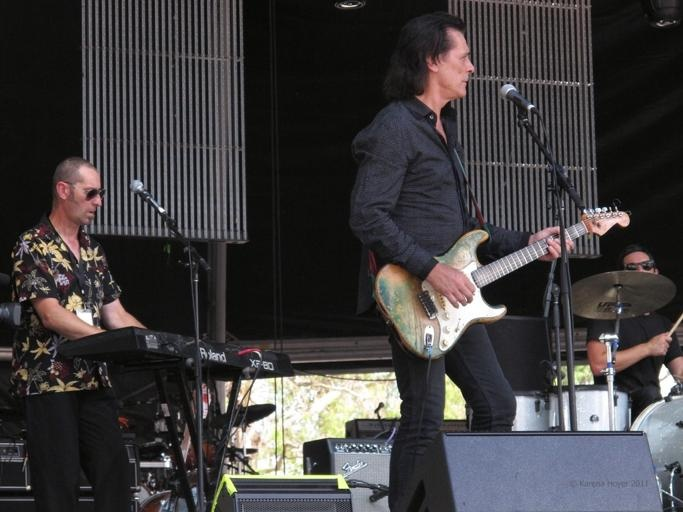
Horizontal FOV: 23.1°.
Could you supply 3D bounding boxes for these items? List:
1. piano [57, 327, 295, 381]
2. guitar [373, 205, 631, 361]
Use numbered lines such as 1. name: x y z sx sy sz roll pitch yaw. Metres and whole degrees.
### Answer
1. piano: -1.032 0.620 10.417 1.427 0.300 0.559 4 -10 -42
2. guitar: 0.980 0.054 9.957 1.678 0.574 0.228 -27 4 27
